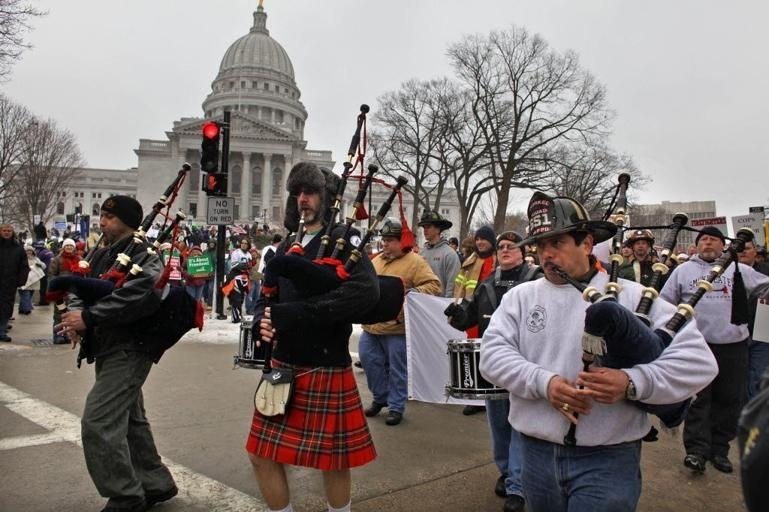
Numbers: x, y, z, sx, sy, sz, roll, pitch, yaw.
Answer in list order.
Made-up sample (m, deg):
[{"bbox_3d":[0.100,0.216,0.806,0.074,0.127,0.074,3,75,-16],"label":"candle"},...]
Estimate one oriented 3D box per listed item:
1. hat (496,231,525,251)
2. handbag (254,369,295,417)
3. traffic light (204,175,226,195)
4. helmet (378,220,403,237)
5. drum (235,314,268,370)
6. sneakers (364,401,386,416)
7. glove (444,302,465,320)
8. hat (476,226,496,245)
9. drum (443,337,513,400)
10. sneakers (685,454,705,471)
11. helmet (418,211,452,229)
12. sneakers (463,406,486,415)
[{"bbox_3d":[1.371,-0.201,7.474,0.269,0.140,0.348,3,-3,42],"label":"hat"},{"bbox_3d":[-0.875,1.072,5.509,0.318,0.378,0.095,2,-14,18],"label":"handbag"},{"bbox_3d":[-3.230,-1.380,13.170,0.189,0.359,0.408,10,6,34],"label":"traffic light"},{"bbox_3d":[0.086,-0.359,8.709,0.269,0.142,0.216,1,4,-10],"label":"helmet"},{"bbox_3d":[-1.095,0.705,5.687,0.407,0.362,0.401,1,-3,-3],"label":"drum"},{"bbox_3d":[-0.095,1.929,8.837,0.339,0.129,0.119,2,-9,-38],"label":"sneakers"},{"bbox_3d":[0.664,0.513,6.524,0.165,0.153,0.217,4,3,3],"label":"glove"},{"bbox_3d":[1.246,-0.271,8.501,0.267,0.196,0.199,18,-13,-43],"label":"hat"},{"bbox_3d":[0.792,1.010,6.099,0.513,0.450,0.508,-8,-16,40],"label":"drum"},{"bbox_3d":[3.276,2.152,7.296,0.208,0.089,0.150,18,-26,12],"label":"sneakers"},{"bbox_3d":[0.725,-0.537,9.633,0.395,0.150,0.296,13,-13,-19],"label":"helmet"},{"bbox_3d":[1.153,1.987,8.973,0.402,0.144,0.114,9,-10,-35],"label":"sneakers"}]
